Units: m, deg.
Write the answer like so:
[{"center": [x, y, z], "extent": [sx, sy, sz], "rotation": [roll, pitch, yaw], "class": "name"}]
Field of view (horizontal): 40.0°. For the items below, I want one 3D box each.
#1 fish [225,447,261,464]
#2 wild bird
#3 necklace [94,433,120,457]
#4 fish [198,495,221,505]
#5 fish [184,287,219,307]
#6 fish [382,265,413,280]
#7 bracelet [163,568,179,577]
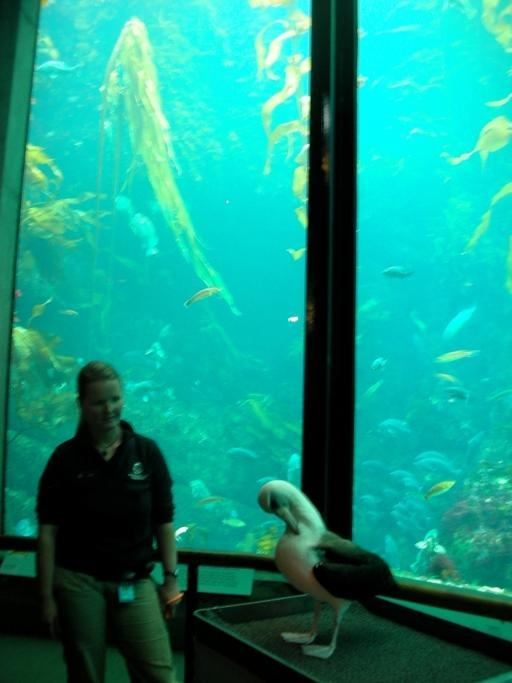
[{"center": [-0.060, 0.564, 3.488], "extent": [0.240, 0.074, 0.051], "rotation": [2, -18, 36], "class": "fish"}, {"center": [0.187, 0.682, 2.132], "extent": [0.386, 0.463, 0.225], "rotation": [3, 7, 39], "class": "wild bird"}, {"center": [-0.605, 0.425, 2.891], "extent": [0.091, 0.065, 0.066], "rotation": [-19, 3, -3], "class": "necklace"}, {"center": [-0.224, 0.792, 3.472], "extent": [0.120, 0.054, 0.008], "rotation": [1, 5, 21], "class": "fish"}, {"center": [-0.269, -0.228, 3.551], "extent": [0.198, 0.091, 0.040], "rotation": [2, 6, 33], "class": "fish"}, {"center": [0.625, -0.307, 3.116], "extent": [0.133, 0.057, 0.024], "rotation": [-2, 5, -9], "class": "fish"}, {"center": [-0.345, 0.942, 2.858], "extent": [0.045, 0.025, 0.033], "rotation": [5, -4, -5], "class": "bracelet"}]
